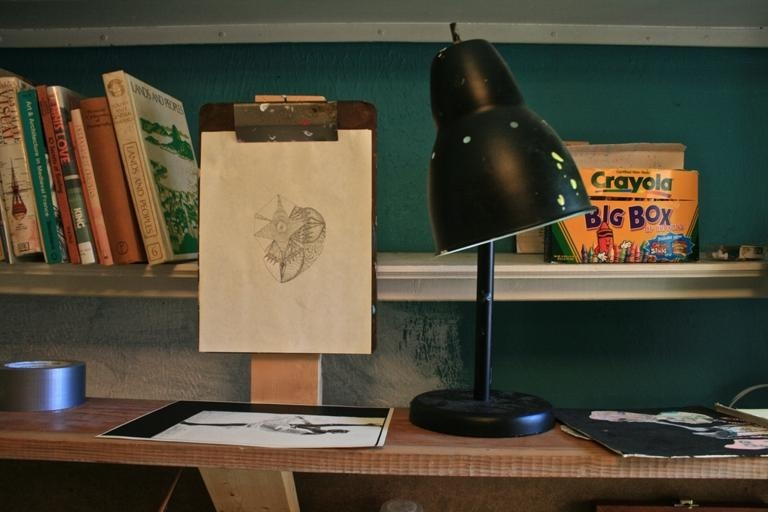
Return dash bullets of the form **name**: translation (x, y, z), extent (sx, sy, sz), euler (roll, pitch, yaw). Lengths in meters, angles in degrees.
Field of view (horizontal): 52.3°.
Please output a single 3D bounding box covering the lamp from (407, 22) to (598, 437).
- **lamp**: translation (0.236, -0.050, 1.738), extent (0.303, 0.916, 0.324), euler (-3, 4, -20)
